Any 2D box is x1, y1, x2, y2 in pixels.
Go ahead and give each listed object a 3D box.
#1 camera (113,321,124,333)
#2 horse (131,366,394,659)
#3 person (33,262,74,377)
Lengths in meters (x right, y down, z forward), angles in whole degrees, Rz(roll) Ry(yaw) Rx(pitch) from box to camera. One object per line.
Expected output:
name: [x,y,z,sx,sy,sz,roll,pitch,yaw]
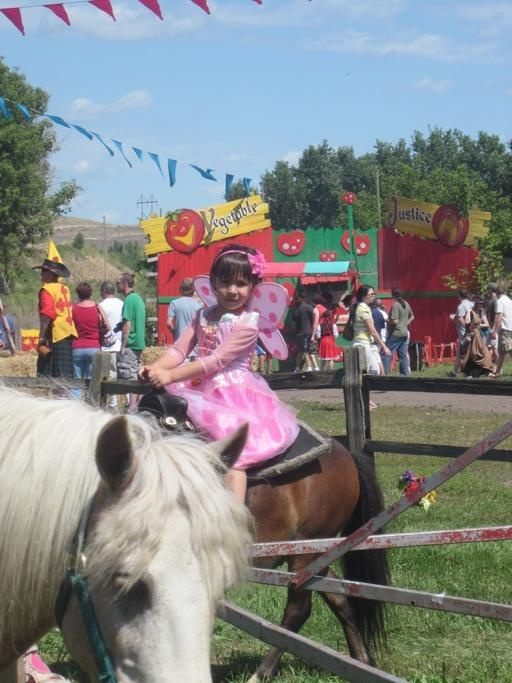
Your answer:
camera: [-1.386,-0.140,9.630,0.081,0.068,0.131,19,-1,17]
horse: [-0.029,0.764,3.825,1.201,0.730,0.304,-2,5,-27]
person: [-1.773,-0.169,8.391,0.364,1.044,0.532,-3,-1,15]
